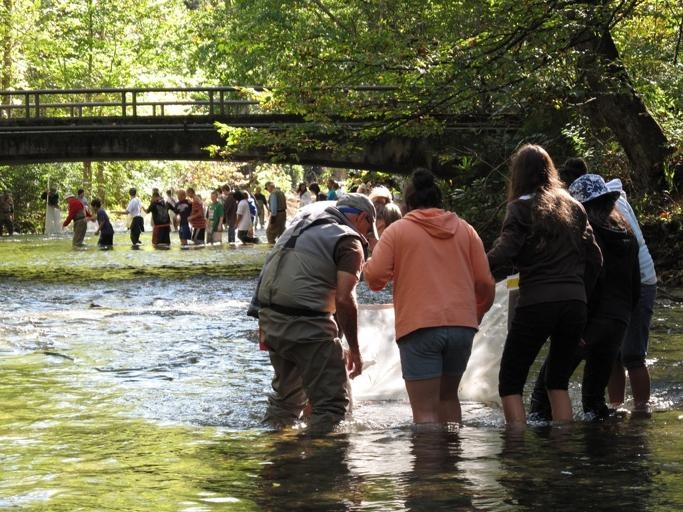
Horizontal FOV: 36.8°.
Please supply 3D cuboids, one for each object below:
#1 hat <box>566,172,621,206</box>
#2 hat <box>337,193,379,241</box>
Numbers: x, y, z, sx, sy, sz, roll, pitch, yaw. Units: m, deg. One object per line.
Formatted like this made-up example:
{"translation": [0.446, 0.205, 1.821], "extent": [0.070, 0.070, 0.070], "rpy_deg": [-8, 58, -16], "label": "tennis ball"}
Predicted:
{"translation": [2.319, -0.609, 9.404], "extent": [0.466, 0.274, 0.392], "rpy_deg": [0, 7, 12], "label": "hat"}
{"translation": [0.132, -0.420, 9.361], "extent": [0.356, 0.303, 0.249], "rpy_deg": [5, -18, -10], "label": "hat"}
